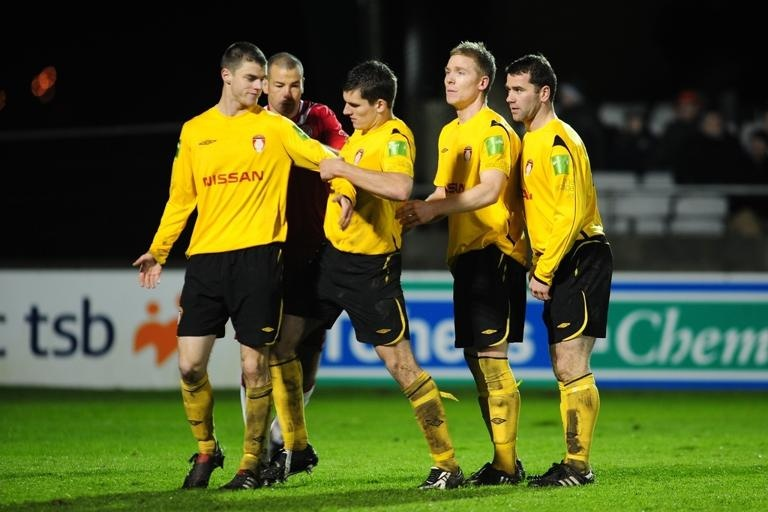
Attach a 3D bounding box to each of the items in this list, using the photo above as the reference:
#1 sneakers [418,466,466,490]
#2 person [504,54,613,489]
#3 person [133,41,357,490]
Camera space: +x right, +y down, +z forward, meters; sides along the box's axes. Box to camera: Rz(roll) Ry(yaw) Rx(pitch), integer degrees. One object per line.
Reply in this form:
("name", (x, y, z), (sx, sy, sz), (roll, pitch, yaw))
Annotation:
("sneakers", (0.478, 1.832, 8.108), (0.428, 0.223, 0.149), (-2, -3, -8))
("person", (1.435, 0.122, 8.111), (0.836, 3.542, 0.490), (1, 5, 12))
("person", (-1.224, 0.095, 8.001), (1.294, 3.635, 0.457), (0, 5, -3))
